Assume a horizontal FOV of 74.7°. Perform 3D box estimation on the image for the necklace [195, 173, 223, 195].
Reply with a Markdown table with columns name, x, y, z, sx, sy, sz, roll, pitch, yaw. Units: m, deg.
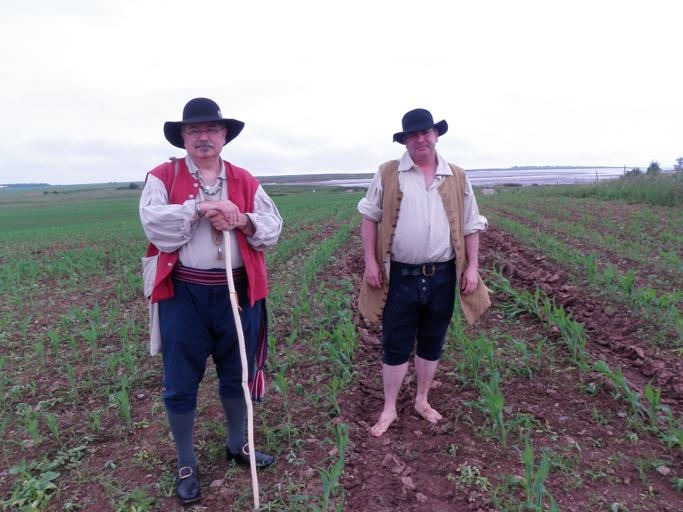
| name | x | y | z | sx | sy | sz | roll | pitch | yaw |
| --- | --- | --- | --- | --- | --- | --- | --- | --- | --- |
| necklace | -1.076 | -0.555 | 3.579 | 0.165 | 0.194 | 0.075 | -4 | -19 | -28 |

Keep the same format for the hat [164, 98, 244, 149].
| name | x | y | z | sx | sy | sz | roll | pitch | yaw |
| --- | --- | --- | --- | --- | --- | --- | --- | --- | --- |
| hat | -1.033 | -1.129 | 3.603 | 0.538 | 0.261 | 0.574 | 12 | 9 | 37 |

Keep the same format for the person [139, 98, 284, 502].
| name | x | y | z | sx | sy | sz | roll | pitch | yaw |
| --- | --- | --- | --- | --- | --- | --- | --- | --- | --- |
| person | -1.030 | 0.314 | 3.599 | 1.005 | 3.052 | 0.664 | -7 | 14 | -27 |

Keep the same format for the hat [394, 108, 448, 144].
| name | x | y | z | sx | sy | sz | roll | pitch | yaw |
| --- | --- | --- | --- | --- | --- | --- | --- | --- | --- |
| hat | 0.689 | -1.147 | 3.955 | 0.463 | 0.280 | 0.393 | 1 | 13 | 9 |

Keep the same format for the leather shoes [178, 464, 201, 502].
| name | x | y | z | sx | sy | sz | roll | pitch | yaw |
| --- | --- | --- | --- | --- | --- | --- | --- | --- | --- |
| leather shoes | -1.221 | 1.798 | 3.561 | 0.115 | 0.121 | 0.309 | 1 | 3 | -18 |

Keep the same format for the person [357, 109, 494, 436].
| name | x | y | z | sx | sy | sz | roll | pitch | yaw |
| --- | --- | --- | --- | --- | --- | --- | --- | --- | --- |
| person | 0.718 | 0.305 | 4.087 | 1.114 | 2.456 | 0.436 | -1 | 12 | 1 |

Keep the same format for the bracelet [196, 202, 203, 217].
| name | x | y | z | sx | sy | sz | roll | pitch | yaw |
| --- | --- | --- | --- | --- | --- | --- | --- | --- | --- |
| bracelet | -1.076 | -0.353 | 3.364 | 0.048 | 0.108 | 0.076 | -5 | 13 | -18 |

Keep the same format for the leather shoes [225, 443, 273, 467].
| name | x | y | z | sx | sy | sz | roll | pitch | yaw |
| --- | --- | --- | --- | --- | --- | --- | --- | --- | --- |
| leather shoes | -0.765 | 1.687 | 3.824 | 0.417 | 0.185 | 0.165 | 2 | 15 | 8 |
